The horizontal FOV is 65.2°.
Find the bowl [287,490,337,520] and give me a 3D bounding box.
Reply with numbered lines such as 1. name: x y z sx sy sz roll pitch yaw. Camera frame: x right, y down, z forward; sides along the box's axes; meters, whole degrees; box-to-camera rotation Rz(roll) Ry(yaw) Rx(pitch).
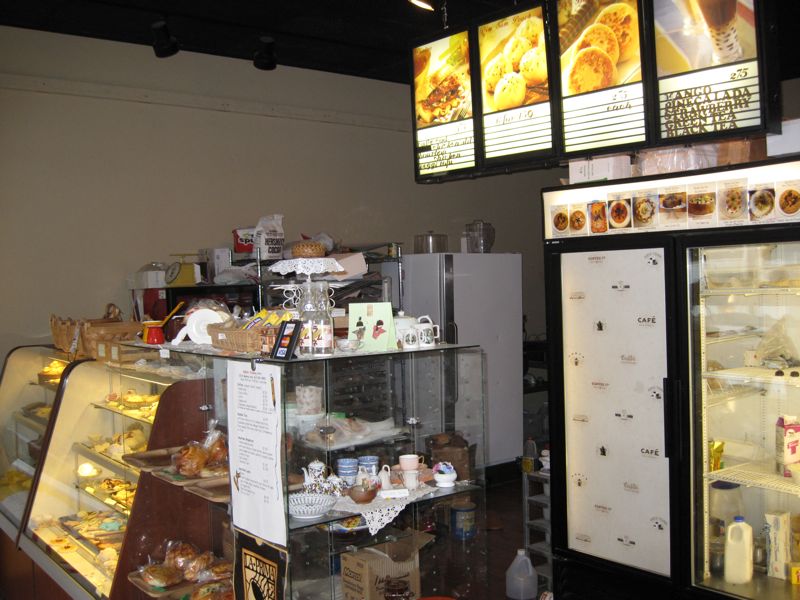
1. bowl: -0.383 0.881 2.671 0.141 0.052 0.141 1 4 0

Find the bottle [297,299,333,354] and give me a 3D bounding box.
1. bottle: -0.382 0.121 2.877 0.158 0.240 0.294 -2 1 -7

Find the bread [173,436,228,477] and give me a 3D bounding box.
1. bread: -0.957 0.780 3.026 0.223 0.209 0.103 -1 -5 -12

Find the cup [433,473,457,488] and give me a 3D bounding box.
1. cup: 0.223 0.848 2.981 0.076 0.047 0.076 1 -2 0

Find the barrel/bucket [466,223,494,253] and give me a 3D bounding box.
1. barrel/bucket: 0.858 -0.673 6.737 0.294 0.347 0.424 -1 1 8

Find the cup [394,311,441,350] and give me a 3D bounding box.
1. cup: 0.095 0.156 3.163 0.220 0.157 0.157 0 -1 -11

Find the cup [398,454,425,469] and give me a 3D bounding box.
1. cup: 0.058 0.764 2.958 0.093 0.043 0.063 3 -6 -37

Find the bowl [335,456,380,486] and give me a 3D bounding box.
1. bowl: -0.188 0.773 2.840 0.184 0.129 0.107 0 -2 -18

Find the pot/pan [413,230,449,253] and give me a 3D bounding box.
1. pot/pan: 0.324 -0.558 6.353 0.251 0.249 0.267 -1 0 34

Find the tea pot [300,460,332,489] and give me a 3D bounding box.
1. tea pot: -0.355 0.745 2.715 0.098 0.131 0.125 3 5 32

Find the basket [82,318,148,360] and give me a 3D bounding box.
1. basket: -1.770 0.238 3.796 0.246 0.123 0.334 -2 6 -20
